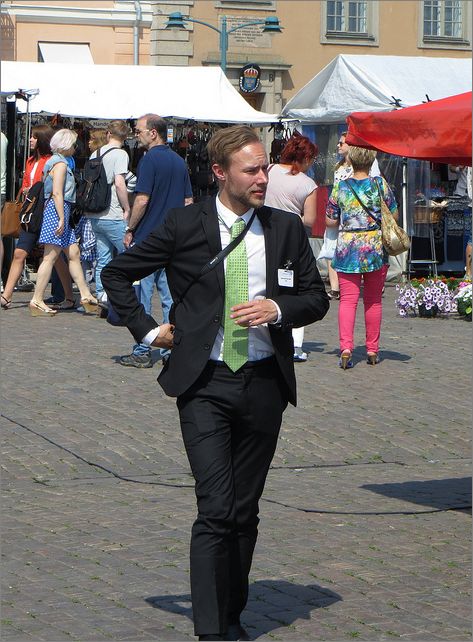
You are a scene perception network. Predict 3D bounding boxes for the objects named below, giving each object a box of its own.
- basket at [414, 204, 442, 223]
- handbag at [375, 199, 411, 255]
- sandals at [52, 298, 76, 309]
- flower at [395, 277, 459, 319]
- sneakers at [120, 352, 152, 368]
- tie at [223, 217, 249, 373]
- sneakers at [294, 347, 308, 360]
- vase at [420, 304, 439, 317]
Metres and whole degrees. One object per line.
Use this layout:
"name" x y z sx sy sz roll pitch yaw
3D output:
"basket" 3.088 -1.705 14.386 0.253 0.317 0.869 4 5 27
"handbag" 1.464 -0.869 8.207 0.260 0.521 0.248 1 4 -19
"sandals" -2.236 -0.222 11.824 0.338 0.123 0.118 4 37 0
"flower" 2.531 -0.313 11.841 0.783 0.518 0.686 3 4 12
"sneakers" -0.900 0.354 8.268 0.297 0.140 0.114 8 3 -1
"tie" 0.003 -0.054 2.785 0.082 0.404 0.134 2 4 -1
"sneakers" 0.630 0.318 8.816 0.198 0.086 0.302 1 7 1
"vase" 2.525 -0.145 11.732 0.191 0.135 0.201 -1 1 -33
